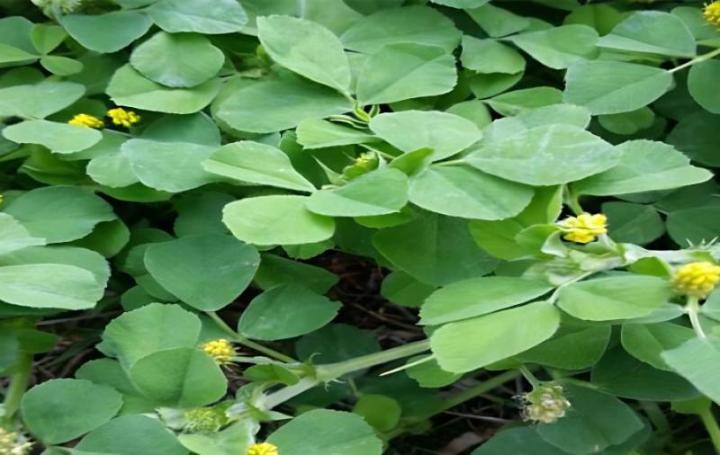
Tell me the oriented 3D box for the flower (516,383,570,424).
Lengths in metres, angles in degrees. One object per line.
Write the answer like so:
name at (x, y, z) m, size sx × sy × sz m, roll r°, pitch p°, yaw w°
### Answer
flower at (0.212, 0.200, 0.733) m, size 0.051 × 0.046 × 0.009 m, roll 7°, pitch 92°, yaw 6°

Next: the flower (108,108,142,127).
flower at (-0.325, -0.153, 0.895) m, size 0.036 × 0.034 × 0.010 m, roll 29°, pitch 113°, yaw 21°

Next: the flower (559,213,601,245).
flower at (0.253, 0.000, 0.741) m, size 0.050 × 0.029 × 0.036 m, roll 2°, pitch 57°, yaw 12°

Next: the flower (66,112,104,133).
flower at (-0.371, -0.145, 0.885) m, size 0.048 × 0.012 × 0.027 m, roll 7°, pitch 30°, yaw -27°
